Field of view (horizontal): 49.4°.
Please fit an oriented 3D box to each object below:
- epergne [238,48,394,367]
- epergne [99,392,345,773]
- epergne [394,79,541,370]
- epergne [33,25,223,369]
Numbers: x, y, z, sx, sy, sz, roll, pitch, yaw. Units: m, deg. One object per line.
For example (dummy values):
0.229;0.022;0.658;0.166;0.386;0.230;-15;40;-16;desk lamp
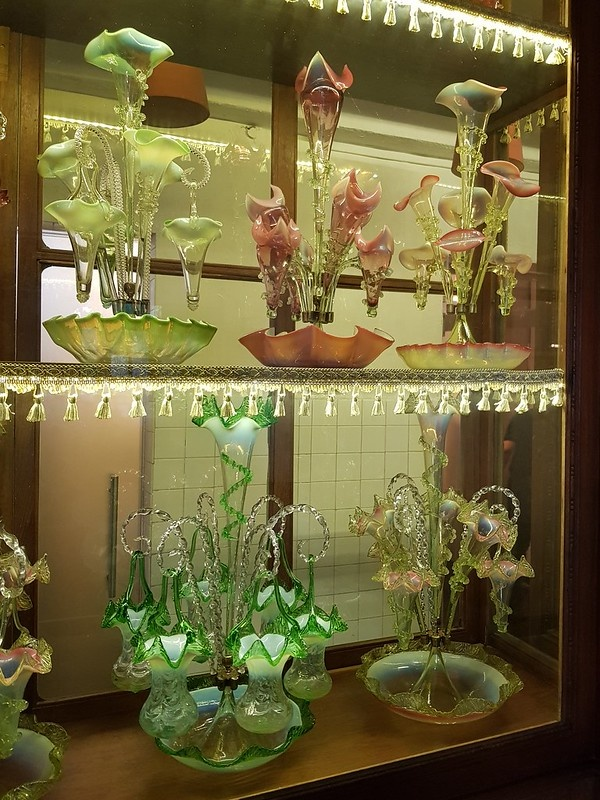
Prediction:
0.032;-0.313;1.165;0.291;0.517;0.251;-3;4;-35;epergne
-0.117;0.285;1.308;0.467;0.726;0.525;1;-7;-4;epergne
0.318;-0.325;1.275;0.254;0.538;0.264;2;6;12;epergne
-0.244;-0.307;0.979;0.279;0.506;0.267;-3;5;-21;epergne
